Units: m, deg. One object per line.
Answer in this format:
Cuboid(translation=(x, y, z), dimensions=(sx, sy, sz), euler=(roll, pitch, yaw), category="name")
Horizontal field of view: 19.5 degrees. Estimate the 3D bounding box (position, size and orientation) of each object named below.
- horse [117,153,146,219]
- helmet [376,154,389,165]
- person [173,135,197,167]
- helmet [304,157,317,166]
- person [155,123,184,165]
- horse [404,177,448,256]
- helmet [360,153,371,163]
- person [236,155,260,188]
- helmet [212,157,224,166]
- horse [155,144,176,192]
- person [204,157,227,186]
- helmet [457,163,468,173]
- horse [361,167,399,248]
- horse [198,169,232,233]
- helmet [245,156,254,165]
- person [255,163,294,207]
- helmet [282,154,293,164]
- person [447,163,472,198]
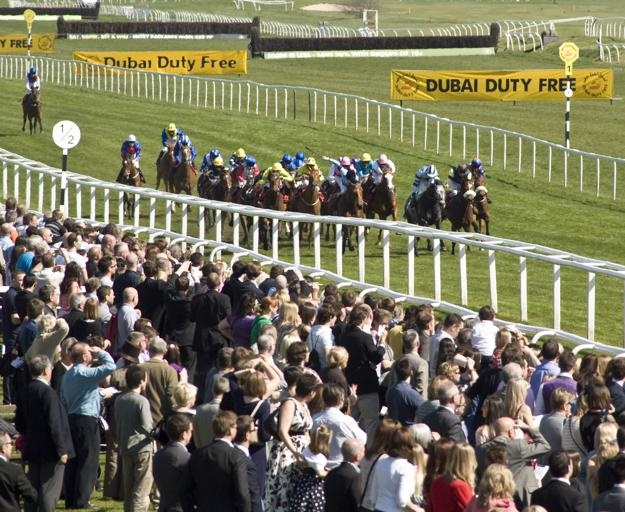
Cuboid(translation=(-3.611, -1.408, 36.622), dimensions=(0.387, 1.119, 1.660), euler=(6, -5, 11), category="horse")
Cuboid(translation=(1.311, -1.833, 34.426), dimensions=(0.203, 0.140, 0.290), euler=(-5, 29, -4), category="helmet")
Cuboid(translation=(-2.613, -2.243, 36.668), dimensions=(0.301, 0.467, 0.743), euler=(-3, 24, -7), category="person")
Cuboid(translation=(-0.038, -1.816, 34.289), dimensions=(0.179, 0.098, 0.251), euler=(7, 48, -10), category="helmet")
Cuboid(translation=(-2.946, -2.392, 37.495), dimensions=(0.516, 0.867, 0.874), euler=(1, 28, -8), category="person")
Cuboid(translation=(2.152, -0.750, 34.401), dimensions=(0.645, 1.223, 2.085), euler=(-2, -3, -12), category="horse")
Cuboid(translation=(1.018, -1.929, 35.081), dimensions=(0.157, 0.111, 0.218), euler=(1, 6, -5), category="helmet")
Cuboid(translation=(-1.294, -1.659, 35.479), dimensions=(0.398, 0.512, 0.828), euler=(-7, -16, -11), category="person")
Cuboid(translation=(-1.857, -1.878, 35.418), dimensions=(0.197, 0.210, 0.306), euler=(3, 4, -3), category="helmet")
Cuboid(translation=(-3.001, -1.808, 37.557), dimensions=(0.394, 0.989, 1.589), euler=(-2, 3, -12), category="horse")
Cuboid(translation=(-1.918, -1.683, 35.465), dimensions=(0.334, 0.441, 0.764), euler=(-5, -20, -11), category="person")
Cuboid(translation=(2.782, -1.682, 33.893), dimensions=(0.165, 0.123, 0.166), euler=(16, 24, 26), category="helmet")
Cuboid(translation=(1.332, -0.971, 34.778), dimensions=(0.573, 1.426, 2.278), euler=(-1, 1, -5), category="horse")
Cuboid(translation=(-1.911, -1.215, 35.673), dimensions=(0.399, 0.960, 1.493), euler=(-7, 7, -24), category="horse")
Cuboid(translation=(-1.212, -1.902, 35.483), dimensions=(0.148, 0.167, 0.186), euler=(1, 45, -26), category="helmet")
Cuboid(translation=(-0.595, -1.388, 34.735), dimensions=(0.448, 0.820, 1.279), euler=(3, -1, 26), category="person")
Cuboid(translation=(-0.503, -1.960, 35.644), dimensions=(0.155, 0.152, 0.221), euler=(-6, 22, -6), category="helmet")
Cuboid(translation=(2.723, -1.475, 33.936), dimensions=(0.401, 0.606, 0.914), euler=(-3, -16, 7), category="person")
